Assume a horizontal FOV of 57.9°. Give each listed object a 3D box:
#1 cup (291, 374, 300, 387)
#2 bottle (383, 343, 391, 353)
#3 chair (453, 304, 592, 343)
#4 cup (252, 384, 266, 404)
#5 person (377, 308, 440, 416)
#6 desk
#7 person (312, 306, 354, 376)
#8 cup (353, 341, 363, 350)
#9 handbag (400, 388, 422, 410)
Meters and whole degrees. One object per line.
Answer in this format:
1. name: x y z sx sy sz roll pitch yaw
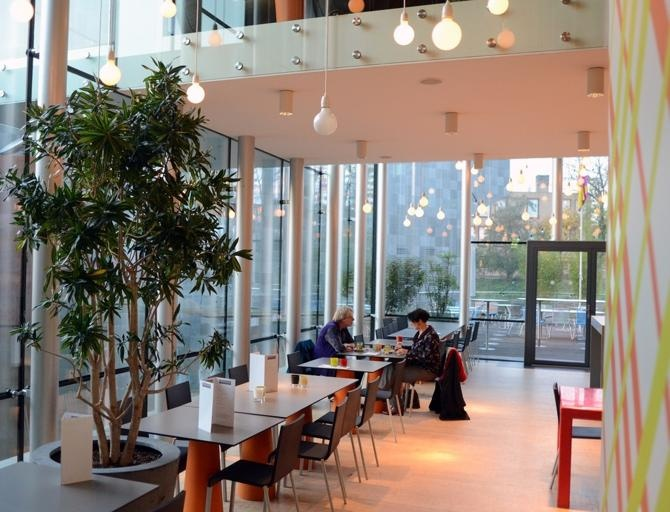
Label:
1. cup: -0.363 1.133 5.482 0.076 0.102 0.075 2 3 0
2. bottle: 0.675 1.208 7.838 0.074 0.086 0.021 2 -3 27
3. chair: 3.673 1.231 11.368 2.037 0.747 0.656 1 0 43
4. cup: -0.596 1.107 4.826 0.089 0.133 0.099 -1 0 17
5. person: 1.030 1.338 7.770 0.655 1.307 0.528 -3 5 2
6. desk: 1.965 1.538 4.894 0.337 0.953 0.826 1 0 23
7. person: 0.010 1.202 7.797 0.473 1.050 0.418 8 1 41
8. cup: 0.315 1.175 7.804 0.063 0.087 0.068 0 4 0
9. handbag: 0.962 1.805 7.760 0.341 0.392 0.222 0 -11 0
